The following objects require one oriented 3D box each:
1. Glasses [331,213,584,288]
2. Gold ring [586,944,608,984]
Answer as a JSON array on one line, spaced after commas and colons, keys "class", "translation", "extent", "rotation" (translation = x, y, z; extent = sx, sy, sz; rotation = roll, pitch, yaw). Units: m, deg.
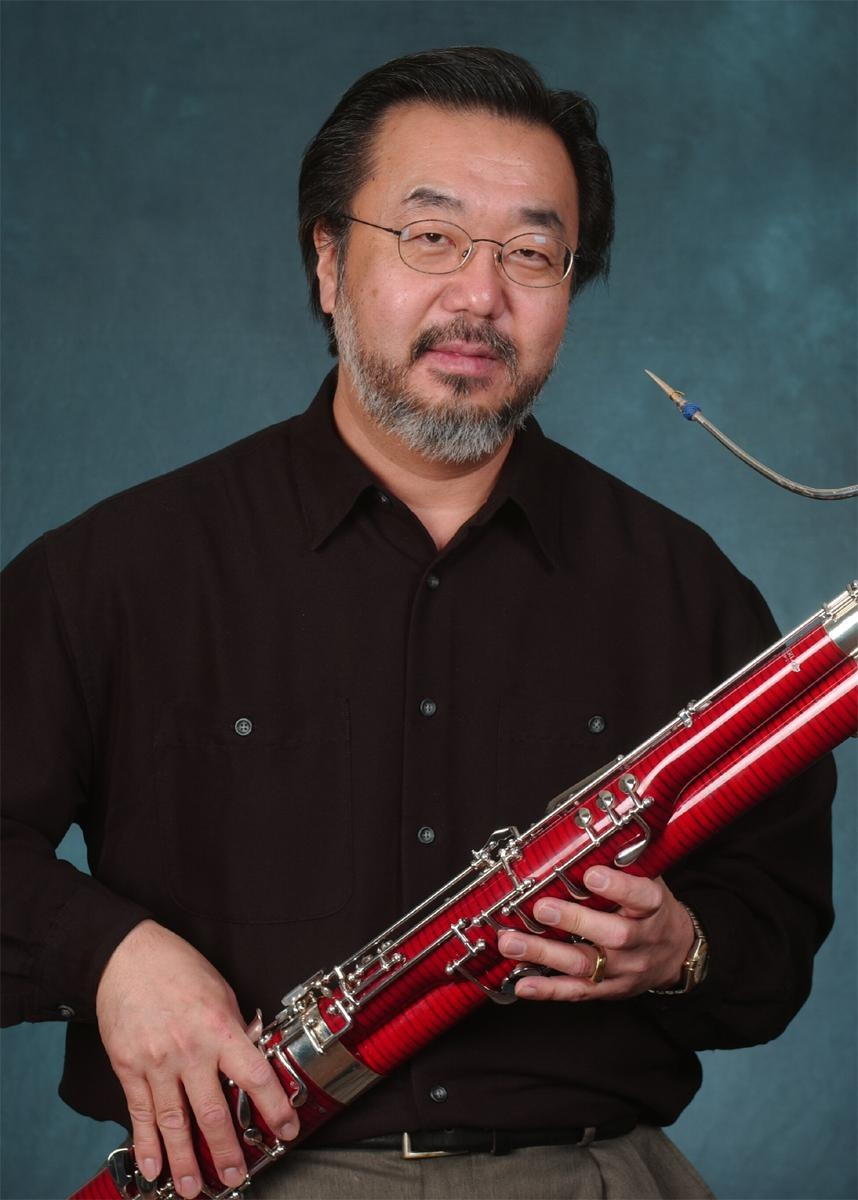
[{"class": "Glasses", "translation": [0.058, -0.568, 1.990], "extent": [0.342, 0.149, 0.170], "rotation": [-9, 22, 3]}, {"class": "Gold ring", "translation": [0.231, 0.514, 1.723], "extent": [0.034, 0.044, 0.018], "rotation": [-1, 9, -37]}]
